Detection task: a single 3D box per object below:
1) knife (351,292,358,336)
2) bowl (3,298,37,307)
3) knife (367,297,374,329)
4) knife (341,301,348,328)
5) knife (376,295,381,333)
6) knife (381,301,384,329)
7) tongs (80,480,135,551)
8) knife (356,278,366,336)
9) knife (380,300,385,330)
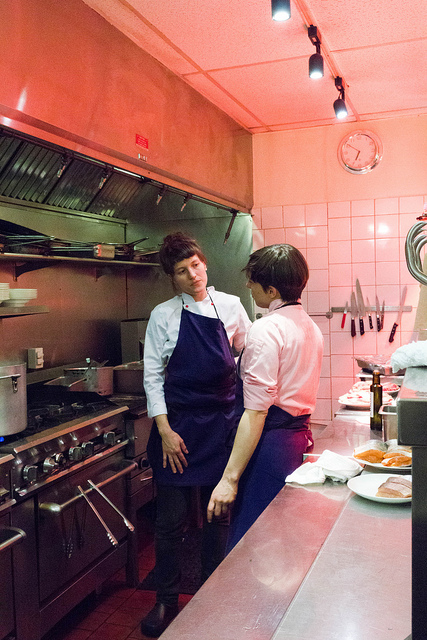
[{"bbox_3d":[1.109,-0.052,3.750,0.054,0.329,0.016,-2,-5,30],"label":"knife"},{"bbox_3d":[-0.891,-0.079,2.162,0.118,0.031,0.073,-11,-4,-23],"label":"bowl"},{"bbox_3d":[1.239,-0.041,3.743,0.011,0.198,0.025,4,-15,-24],"label":"knife"},{"bbox_3d":[1.050,-0.038,3.807,0.020,0.237,0.032,17,-7,-29],"label":"knife"},{"bbox_3d":[1.292,-0.053,3.718,0.028,0.250,0.018,-5,-11,35],"label":"knife"},{"bbox_3d":[1.323,-0.019,3.714,0.021,0.160,0.016,4,-1,12],"label":"knife"},{"bbox_3d":[-0.416,0.779,1.884,0.196,0.305,0.207,4,8,6],"label":"tongs"},{"bbox_3d":[1.159,-0.108,3.735,0.074,0.437,0.019,-2,-4,26],"label":"knife"},{"bbox_3d":[1.326,-0.036,3.714,0.028,0.216,0.017,6,3,22],"label":"knife"}]
